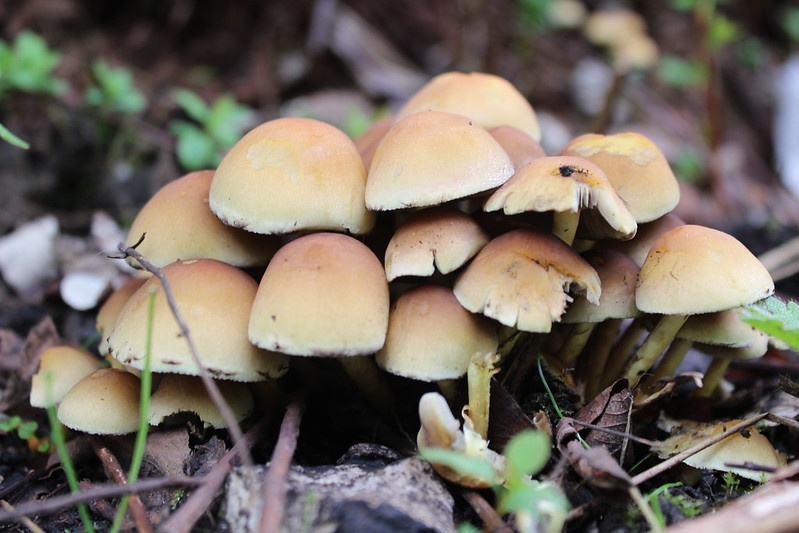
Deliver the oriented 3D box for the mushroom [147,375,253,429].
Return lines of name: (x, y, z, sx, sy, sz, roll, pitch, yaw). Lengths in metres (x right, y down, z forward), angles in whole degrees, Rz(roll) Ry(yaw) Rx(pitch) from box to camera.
mushroom: (-1.095, 0.665, 4.166, 0.355, 0.177, 0.354, 2, 10, -26)

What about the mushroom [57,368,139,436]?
mushroom: (-1.664, 0.696, 4.315, 0.520, 0.258, 0.506, -3, 25, -28)
